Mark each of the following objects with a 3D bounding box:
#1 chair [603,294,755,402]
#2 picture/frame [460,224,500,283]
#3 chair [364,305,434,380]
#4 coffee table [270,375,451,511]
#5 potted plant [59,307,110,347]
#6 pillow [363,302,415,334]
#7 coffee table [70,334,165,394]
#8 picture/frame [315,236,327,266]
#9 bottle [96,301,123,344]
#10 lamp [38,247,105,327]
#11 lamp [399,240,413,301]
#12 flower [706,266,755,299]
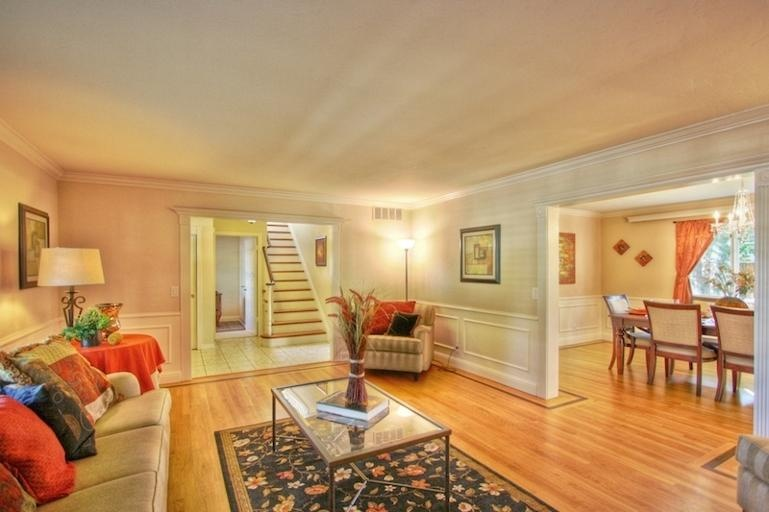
[{"bbox_3d":[3.950,1.039,6.489,1.144,0.990,1.588,0,-1,-33],"label":"chair"},{"bbox_3d":[1.349,-0.035,6.553,0.077,0.889,0.854,4,-5,-35],"label":"picture/frame"},{"bbox_3d":[0.175,1.145,6.848,1.324,0.920,1.322,0,-3,33],"label":"chair"},{"bbox_3d":[-0.184,1.179,4.007,0.977,0.615,1.511,-2,2,-27],"label":"coffee table"},{"bbox_3d":[-3.135,0.735,4.933,0.419,0.377,0.409,5,-7,-30],"label":"potted plant"},{"bbox_3d":[0.075,0.831,6.980,0.636,0.195,0.649,7,11,-5],"label":"pillow"},{"bbox_3d":[-2.807,1.158,5.084,0.742,0.368,0.686,4,-10,-41],"label":"coffee table"},{"bbox_3d":[-1.175,-0.099,8.675,0.058,0.541,0.568,1,-4,-26],"label":"picture/frame"},{"bbox_3d":[-3.044,0.748,5.213,0.316,0.418,0.330,-8,-3,0],"label":"bottle"},{"bbox_3d":[-3.391,0.421,5.110,0.632,0.940,0.633,-8,-8,30],"label":"lamp"},{"bbox_3d":[0.372,0.220,7.780,0.196,1.000,0.408,-1,0,3],"label":"lamp"},{"bbox_3d":[5.321,0.408,7.219,0.520,0.511,0.499,4,-7,-18],"label":"flower"}]
